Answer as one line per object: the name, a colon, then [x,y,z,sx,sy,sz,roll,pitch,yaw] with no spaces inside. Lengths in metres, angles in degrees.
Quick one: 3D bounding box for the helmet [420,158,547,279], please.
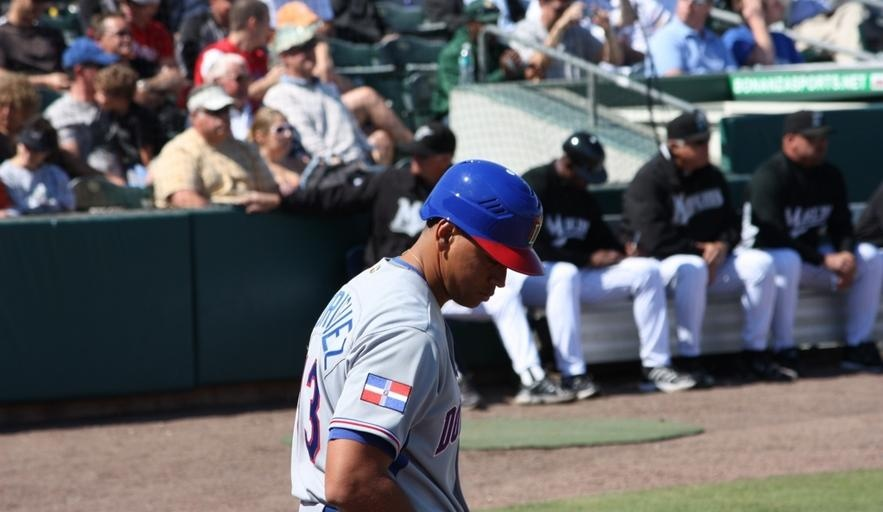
helmet: [0.287,-0.277,8.033,0.664,0.347,0.479,32,10,6]
